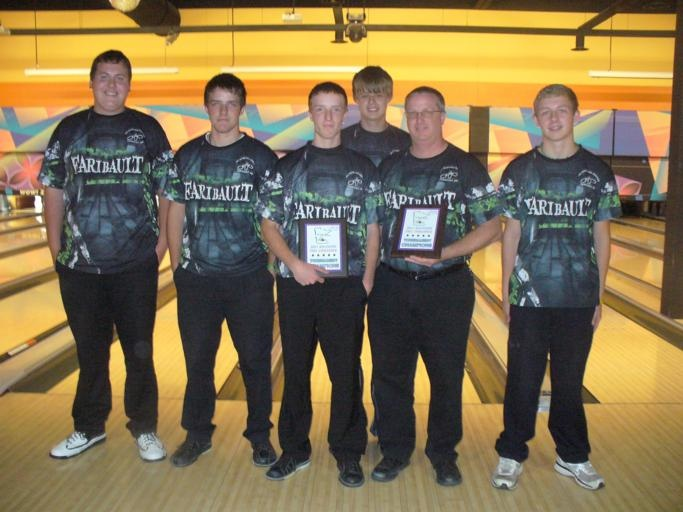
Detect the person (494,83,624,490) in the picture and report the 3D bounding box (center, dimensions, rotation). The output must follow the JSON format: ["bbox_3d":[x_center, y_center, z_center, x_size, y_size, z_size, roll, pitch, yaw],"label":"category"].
[{"bbox_3d":[0.922,0.133,2.265,0.509,1.695,0.494,3,13,16],"label":"person"}]

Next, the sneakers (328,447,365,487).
[{"bbox_3d":[0.031,0.927,2.343,0.149,0.121,0.157,-1,13,-3],"label":"sneakers"}]

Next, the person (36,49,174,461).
[{"bbox_3d":[-1.092,-0.005,2.444,0.640,1.867,0.546,-4,13,-15],"label":"person"}]

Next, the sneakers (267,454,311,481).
[{"bbox_3d":[-0.235,0.945,2.403,0.207,0.082,0.074,1,1,-44],"label":"sneakers"}]

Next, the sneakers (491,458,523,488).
[{"bbox_3d":[0.725,0.948,2.292,0.072,0.074,0.171,2,-1,20],"label":"sneakers"}]

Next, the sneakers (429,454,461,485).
[{"bbox_3d":[0.466,0.948,2.322,0.134,0.081,0.101,2,13,7],"label":"sneakers"}]

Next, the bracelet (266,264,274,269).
[{"bbox_3d":[-0.341,0.050,2.522,0.025,0.021,0.027,3,-1,-6],"label":"bracelet"}]

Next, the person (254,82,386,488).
[{"bbox_3d":[-0.102,0.116,2.318,0.540,1.708,0.445,1,13,3],"label":"person"}]

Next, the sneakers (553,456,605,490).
[{"bbox_3d":[1.046,0.943,2.319,0.078,0.083,0.192,3,1,-40],"label":"sneakers"}]

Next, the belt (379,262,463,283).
[{"bbox_3d":[0.376,0.065,2.356,0.366,0.069,0.093,1,13,5],"label":"belt"}]

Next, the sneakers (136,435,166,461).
[{"bbox_3d":[-0.879,0.885,2.461,0.080,0.070,0.164,-3,4,-30],"label":"sneakers"}]

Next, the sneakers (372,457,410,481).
[{"bbox_3d":[0.219,0.944,2.343,0.071,0.067,0.156,23,20,37],"label":"sneakers"}]
